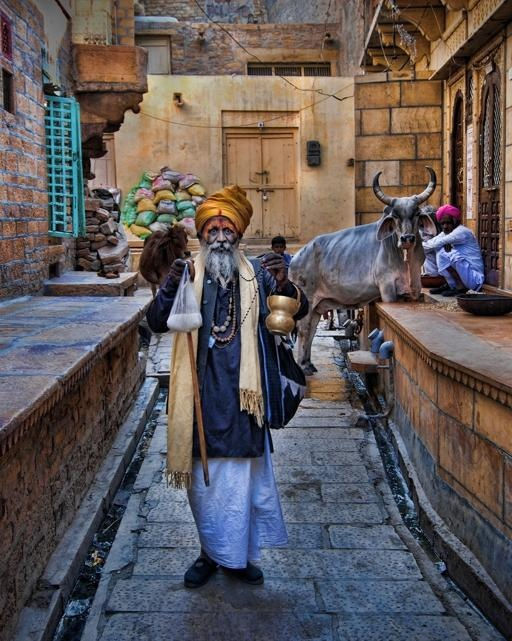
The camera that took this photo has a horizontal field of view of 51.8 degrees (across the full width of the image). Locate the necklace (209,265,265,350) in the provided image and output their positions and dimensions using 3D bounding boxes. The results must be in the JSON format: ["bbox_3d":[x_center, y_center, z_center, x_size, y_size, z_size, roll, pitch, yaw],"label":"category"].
[{"bbox_3d":[-0.084,-0.041,2.131,0.181,0.323,0.067,-1,-9,10],"label":"necklace"}]

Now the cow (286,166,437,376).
[{"bbox_3d":[1.186,-0.759,5.867,0.513,1.594,1.747,1,-1,-33],"label":"cow"}]

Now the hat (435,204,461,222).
[{"bbox_3d":[2.691,-1.502,7.344,0.244,0.242,0.297,-5,-15,11],"label":"hat"}]

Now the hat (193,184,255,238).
[{"bbox_3d":[-0.135,-0.458,2.287,0.202,0.195,0.258,-5,7,-5],"label":"hat"}]

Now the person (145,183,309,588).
[{"bbox_3d":[-0.112,0.230,2.162,0.670,1.636,0.372,0,-1,-6],"label":"person"}]

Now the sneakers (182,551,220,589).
[{"bbox_3d":[-0.227,1.010,2.157,0.065,0.070,0.176,5,-1,15],"label":"sneakers"}]

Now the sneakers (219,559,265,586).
[{"bbox_3d":[-0.056,1.005,2.168,0.167,0.078,0.086,-1,3,29],"label":"sneakers"}]
